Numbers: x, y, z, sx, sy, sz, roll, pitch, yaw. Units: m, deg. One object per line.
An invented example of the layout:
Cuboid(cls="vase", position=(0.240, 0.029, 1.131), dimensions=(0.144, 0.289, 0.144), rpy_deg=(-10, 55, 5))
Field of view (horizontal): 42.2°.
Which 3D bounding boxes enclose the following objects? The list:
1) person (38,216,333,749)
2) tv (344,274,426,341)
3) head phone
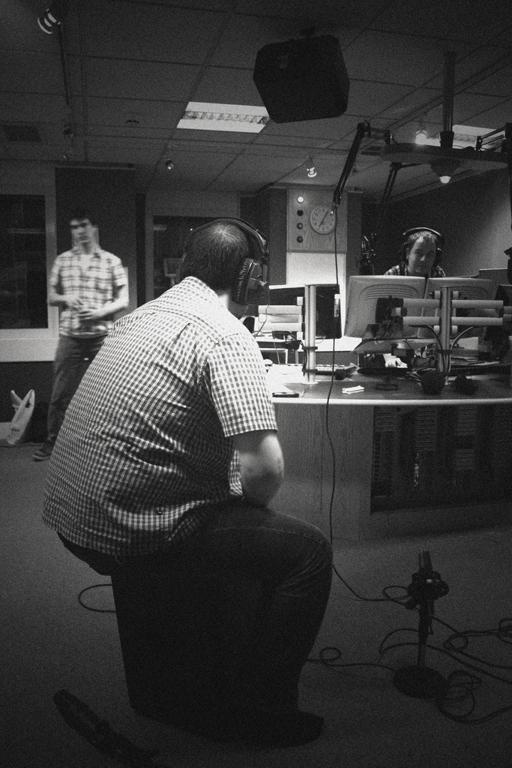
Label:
Cuboid(cls="person", position=(-0.157, 0.230, 1.430), dimensions=(0.605, 1.176, 0.330), rpy_deg=(-2, 7, -12))
Cuboid(cls="tv", position=(0.606, -0.352, 3.100), dimensions=(0.330, 0.271, 0.105), rpy_deg=(2, 7, -7))
Cuboid(cls="head phone", position=(-0.079, -0.297, 1.582), dimensions=(0.246, 0.211, 0.111), rpy_deg=(10, 8, 25))
